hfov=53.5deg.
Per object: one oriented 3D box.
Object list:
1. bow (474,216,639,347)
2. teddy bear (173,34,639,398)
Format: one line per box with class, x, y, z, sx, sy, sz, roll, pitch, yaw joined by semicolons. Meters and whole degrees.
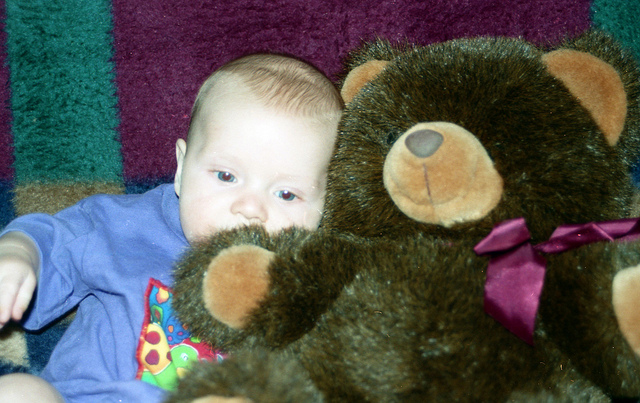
bow;0.448;0.110;1.238;0.309;0.162;0.177;-51;44;9
teddy bear;0.195;0.047;1.291;0.651;0.542;0.670;27;98;12
